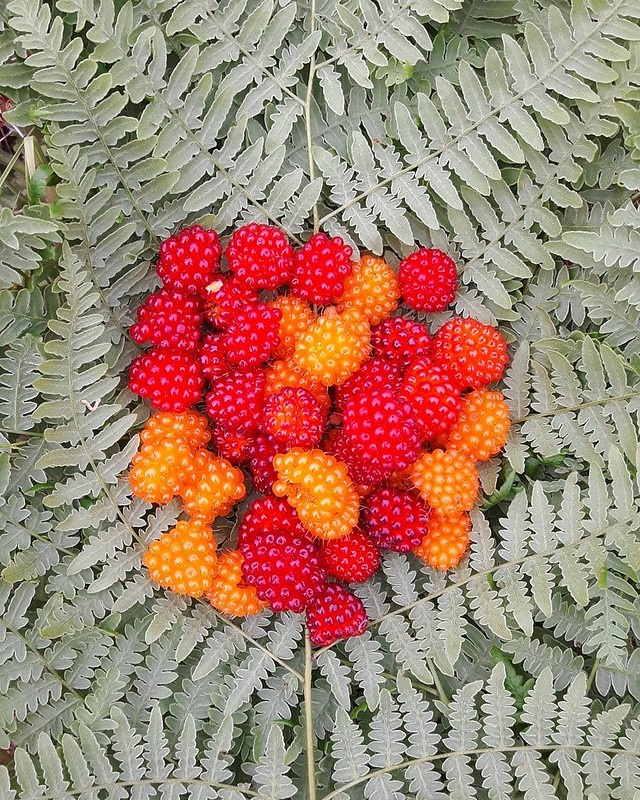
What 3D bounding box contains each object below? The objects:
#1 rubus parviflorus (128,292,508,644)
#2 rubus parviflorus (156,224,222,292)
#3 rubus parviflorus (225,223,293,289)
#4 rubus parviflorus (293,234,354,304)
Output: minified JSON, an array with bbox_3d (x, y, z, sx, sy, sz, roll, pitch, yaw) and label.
[{"bbox_3d":[-0.003,0.094,1.431,0.613,0.221,0.564,5,82,-1],"label":"rubus parviflorus"},{"bbox_3d":[-0.219,-0.222,1.458,0.105,0.088,0.110,13,82,0],"label":"rubus parviflorus"},{"bbox_3d":[-0.098,-0.224,1.485,0.108,0.144,0.101,-2,82,-2],"label":"rubus parviflorus"},{"bbox_3d":[0.001,-0.216,1.446,0.085,0.046,0.116,17,93,12],"label":"rubus parviflorus"}]
